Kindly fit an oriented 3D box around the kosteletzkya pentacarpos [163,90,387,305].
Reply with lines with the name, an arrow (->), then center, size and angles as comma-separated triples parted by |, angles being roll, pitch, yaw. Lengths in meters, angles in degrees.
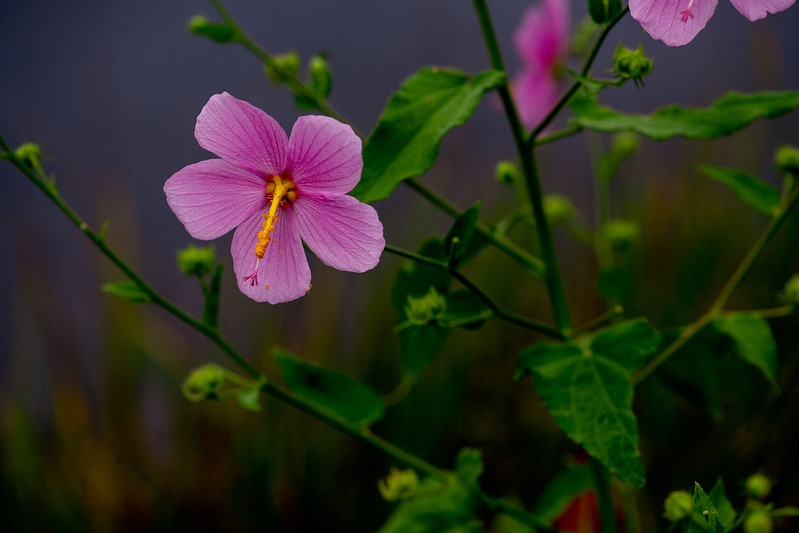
kosteletzkya pentacarpos -> -0.182, -0.118, 1.258 | 0.352, 0.406, 0.125 | 11, -54, -39
